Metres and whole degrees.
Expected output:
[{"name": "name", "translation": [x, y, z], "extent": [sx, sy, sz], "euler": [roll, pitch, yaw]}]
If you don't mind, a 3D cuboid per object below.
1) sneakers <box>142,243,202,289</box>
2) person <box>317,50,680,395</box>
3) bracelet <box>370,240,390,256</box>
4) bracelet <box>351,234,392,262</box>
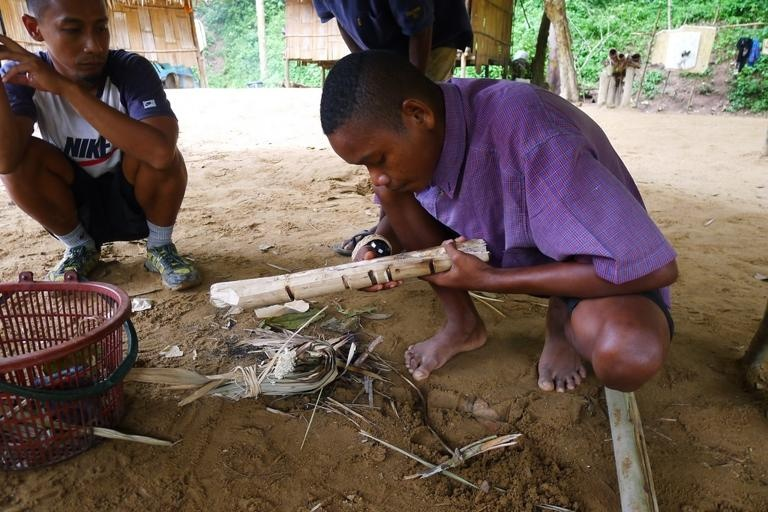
[{"name": "sneakers", "translation": [-1.340, 0.041, 3.285], "extent": [0.476, 0.210, 0.210], "euler": [24, 33, 36]}, {"name": "person", "translation": [0.522, -0.209, 2.213], "extent": [1.439, 1.264, 0.694], "euler": [13, 27, 28]}, {"name": "bracelet", "translation": [-0.020, -0.051, 2.619], "extent": [0.066, 0.087, 0.087], "euler": [-47, 29, -6]}, {"name": "bracelet", "translation": [-0.052, -0.063, 2.609], "extent": [0.173, 0.101, 0.131], "euler": [-34, 31, -21]}]
